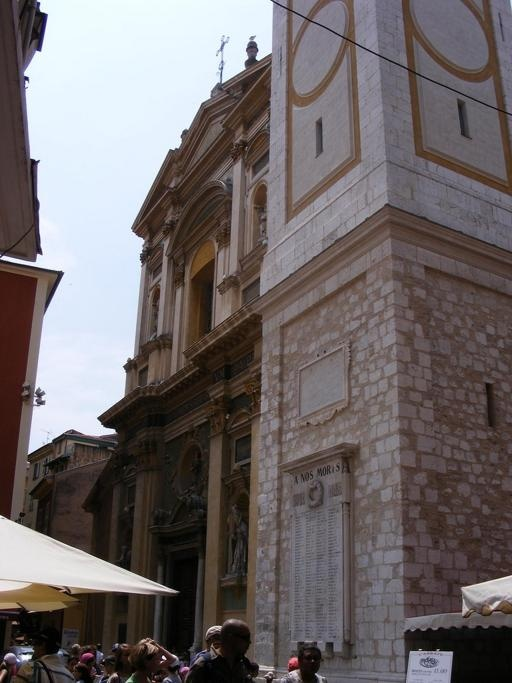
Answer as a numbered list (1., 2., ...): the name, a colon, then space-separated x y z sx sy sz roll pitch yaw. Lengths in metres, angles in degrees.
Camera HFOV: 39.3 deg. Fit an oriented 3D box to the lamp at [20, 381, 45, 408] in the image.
1. lamp: -4.814 1.126 15.463 0.454 0.446 0.259 16 -26 -30
